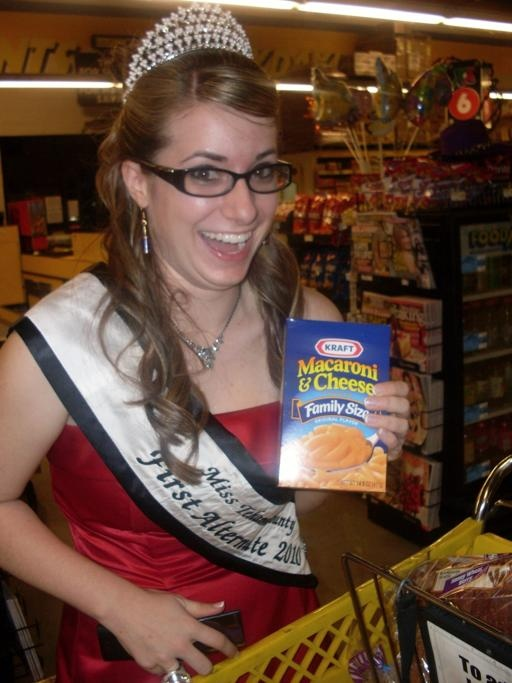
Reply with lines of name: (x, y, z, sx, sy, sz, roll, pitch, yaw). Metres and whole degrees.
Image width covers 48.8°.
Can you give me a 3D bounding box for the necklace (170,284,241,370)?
necklace: (-0.106, -0.027, 1.123, 0.164, 0.149, 0.018, -13, 21, -36)
